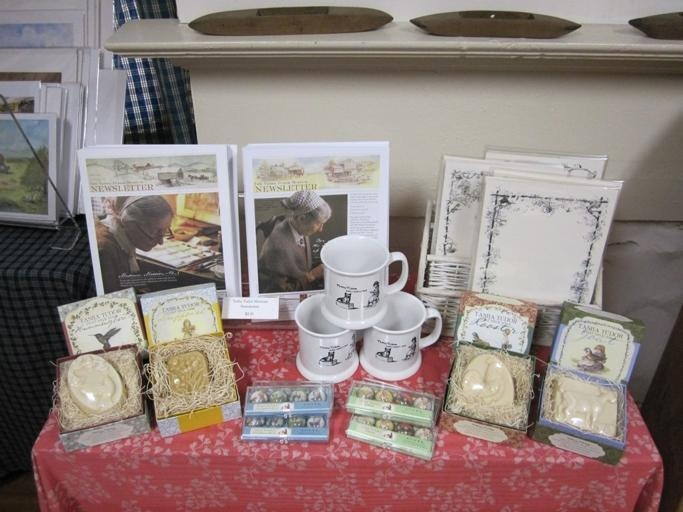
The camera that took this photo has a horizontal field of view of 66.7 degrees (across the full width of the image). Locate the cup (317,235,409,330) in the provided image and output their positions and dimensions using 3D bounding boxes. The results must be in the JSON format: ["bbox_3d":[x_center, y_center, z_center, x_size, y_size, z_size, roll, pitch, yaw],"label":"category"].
[{"bbox_3d":[0.041,0.086,1.443,0.301,0.201,0.221,1,37,3],"label":"cup"}]

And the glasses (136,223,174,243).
[{"bbox_3d":[-0.531,-0.067,1.506,0.058,0.052,0.018,2,8,-40],"label":"glasses"}]

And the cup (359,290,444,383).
[{"bbox_3d":[0.141,0.241,1.504,0.284,0.191,0.217,1,38,2],"label":"cup"}]
